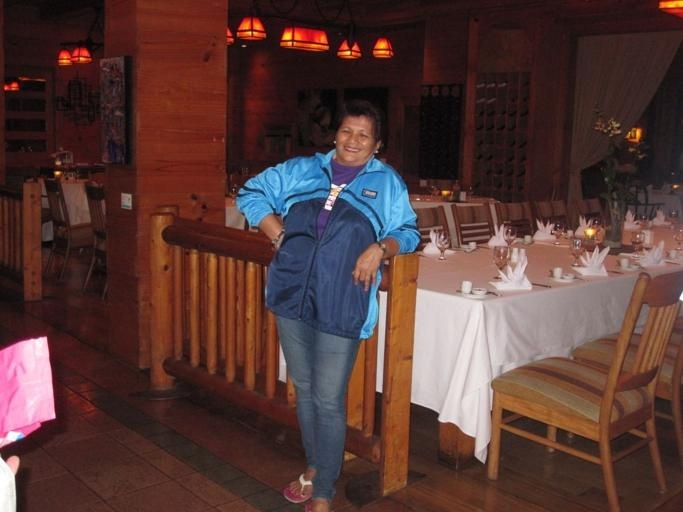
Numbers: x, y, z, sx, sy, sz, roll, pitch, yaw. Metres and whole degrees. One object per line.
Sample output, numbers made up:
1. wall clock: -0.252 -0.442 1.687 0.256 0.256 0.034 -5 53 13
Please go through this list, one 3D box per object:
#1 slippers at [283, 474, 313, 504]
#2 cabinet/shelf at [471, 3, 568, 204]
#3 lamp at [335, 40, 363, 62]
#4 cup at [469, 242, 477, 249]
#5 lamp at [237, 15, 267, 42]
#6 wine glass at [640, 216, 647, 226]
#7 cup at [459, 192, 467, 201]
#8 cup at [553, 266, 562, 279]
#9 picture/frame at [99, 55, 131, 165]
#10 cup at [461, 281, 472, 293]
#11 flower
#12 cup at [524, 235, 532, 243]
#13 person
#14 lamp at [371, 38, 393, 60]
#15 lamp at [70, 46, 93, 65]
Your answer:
1. slippers: -0.199 1.071 2.541 0.084 0.051 0.153 12 7 28
2. cabinet/shelf: 2.737 -2.381 9.484 1.400 3.267 1.376 -4 10 -33
3. lamp: 0.107 -3.105 8.299 0.280 0.288 0.626 3 11 4
4. cup: 0.993 -0.082 4.288 0.060 0.044 0.059 -1 4 0
5. lamp: -1.204 -3.047 7.398 0.335 0.345 0.637 1 11 -5
6. wine glass: 2.991 -0.352 5.554 0.080 0.094 0.087 8 19 26
7. cup: 1.595 -0.795 7.426 0.140 0.140 0.074 0 13 -4
8. cup: 1.269 0.100 3.317 0.058 0.058 0.058 0 10 0
9. picture/frame: -1.585 -1.029 3.905 0.097 0.973 0.698 -1 9 -31
10. cup: 0.649 0.167 2.902 0.045 0.056 0.059 1 8 -11
11. flower: 2.174 -0.615 4.393 0.313 0.930 0.414 -20 21 -18
12. cup: 1.560 -0.142 4.710 0.064 0.063 0.085 -1 0 16
13. person: -0.075 0.249 2.369 0.747 1.785 0.369 3 11 7
14. lamp: 0.624 -3.281 8.657 0.254 0.356 0.654 3 11 4
15. lamp: -4.761 -3.728 10.174 0.310 0.324 0.479 -4 13 -29
